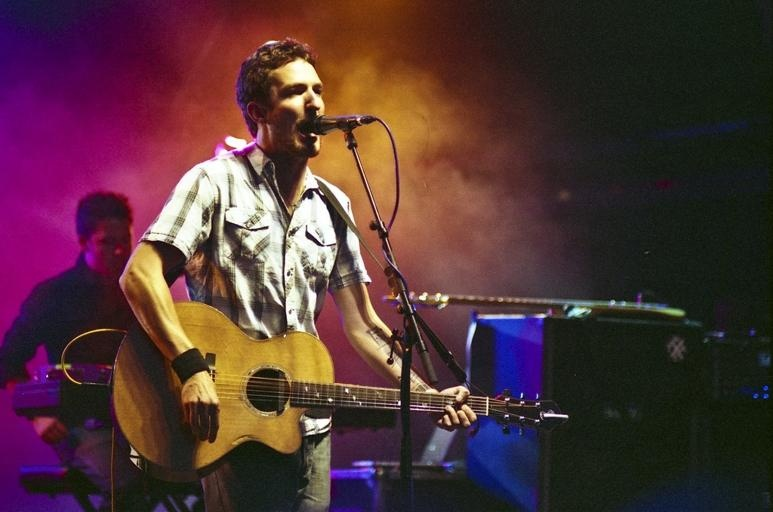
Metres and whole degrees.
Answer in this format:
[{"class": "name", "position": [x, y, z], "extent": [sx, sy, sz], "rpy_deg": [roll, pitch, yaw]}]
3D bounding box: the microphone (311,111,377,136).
[{"class": "microphone", "position": [-0.259, -0.944, 5.858], "extent": [0.571, 0.178, 0.173], "rpy_deg": [-4, 10, 29]}]
